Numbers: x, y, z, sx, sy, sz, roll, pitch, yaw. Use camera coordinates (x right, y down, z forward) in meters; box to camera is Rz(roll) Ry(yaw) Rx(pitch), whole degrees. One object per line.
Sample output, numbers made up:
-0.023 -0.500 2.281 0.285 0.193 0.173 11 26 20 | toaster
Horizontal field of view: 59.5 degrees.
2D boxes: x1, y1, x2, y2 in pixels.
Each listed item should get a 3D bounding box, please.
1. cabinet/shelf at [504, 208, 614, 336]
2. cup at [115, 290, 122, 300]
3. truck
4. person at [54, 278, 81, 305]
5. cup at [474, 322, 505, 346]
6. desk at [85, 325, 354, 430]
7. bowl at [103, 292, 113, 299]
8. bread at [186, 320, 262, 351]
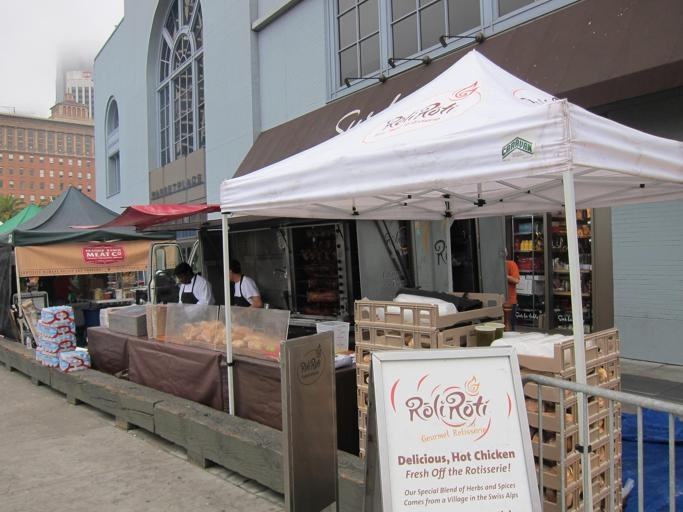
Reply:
3.457 0.271 9.427 0.703 2.193 2.087 1 0 -28 | cabinet/shelf
-4.830 0.802 12.973 0.164 0.181 0.548 -7 11 -21 | cup
-0.416 0.477 11.416 6.172 3.127 2.063 -6 -4 33 | truck
-5.978 0.699 12.971 0.512 0.532 1.251 -7 11 -24 | person
1.280 0.673 5.177 0.198 0.198 0.201 0 -6 0 | cup
-1.728 1.361 6.981 4.257 0.802 0.432 5 12 36 | desk
-5.088 0.856 13.045 0.144 0.104 0.143 -1 -7 0 | bowl
-1.306 0.820 6.644 0.706 0.174 0.384 5 0 40 | bread
